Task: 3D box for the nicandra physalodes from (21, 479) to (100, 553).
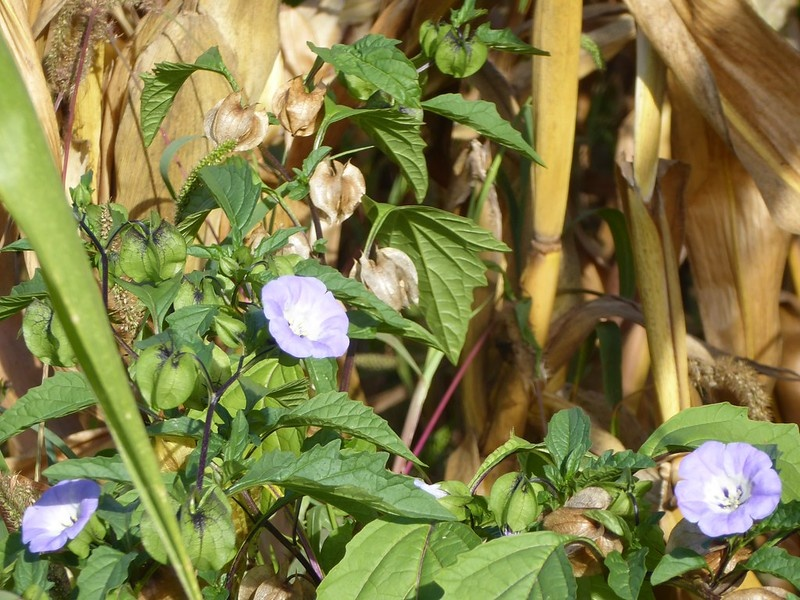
[{"bbox_3d":[-0.347,0.234,0.915,0.071,0.089,0.030,-31,-34,21],"label":"nicandra physalodes"}]
